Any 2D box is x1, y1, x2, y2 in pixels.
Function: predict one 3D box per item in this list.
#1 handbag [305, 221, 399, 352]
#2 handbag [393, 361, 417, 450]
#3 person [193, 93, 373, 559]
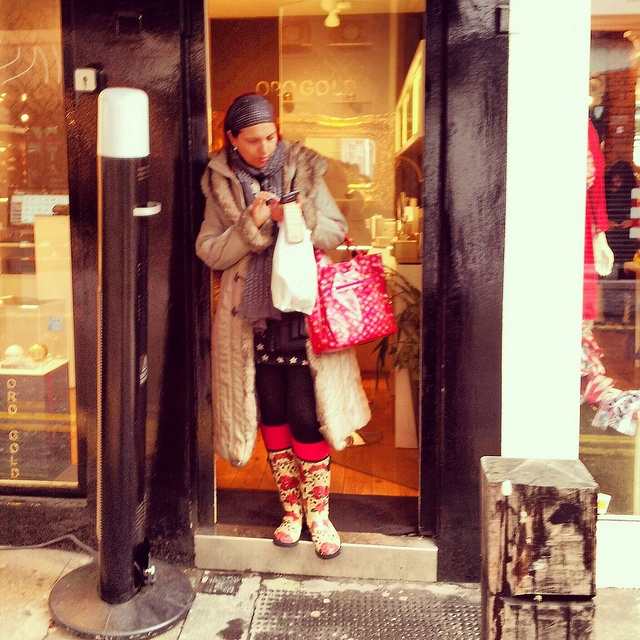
[{"bbox_3d":[0.109,-0.065,2.709,0.293,0.340,0.185,1,5,5],"label":"handbag"},{"bbox_3d":[0.407,0.428,3.767,0.103,0.394,0.108,1,5,6],"label":"handbag"},{"bbox_3d":[-0.156,0.044,2.817,0.522,1.611,0.437,4,6,34],"label":"person"}]
